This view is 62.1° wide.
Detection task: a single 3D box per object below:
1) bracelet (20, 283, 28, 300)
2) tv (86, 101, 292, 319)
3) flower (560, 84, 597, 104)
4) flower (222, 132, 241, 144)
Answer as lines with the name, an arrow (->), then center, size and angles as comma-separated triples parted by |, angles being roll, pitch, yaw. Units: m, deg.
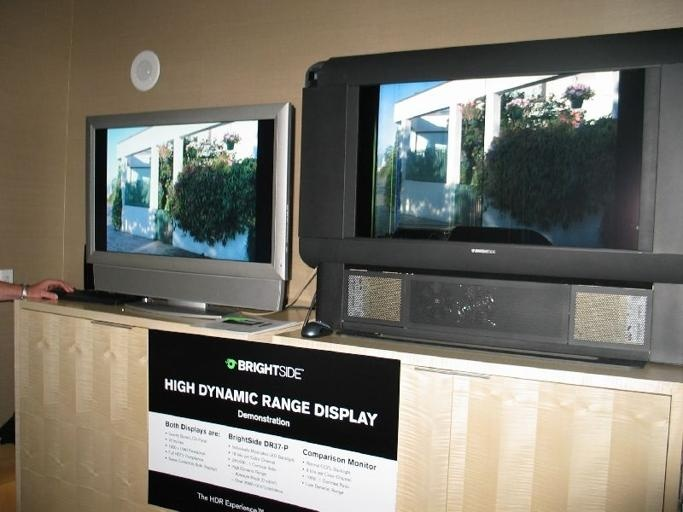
bracelet -> -1.509, 0.178, 2.704 | 0.020, 0.056, 0.047 | 6, 6, 4
tv -> -0.664, -0.193, 2.556 | 0.948, 0.727, 0.105 | 4, 2, 22
flower -> 0.815, -0.544, 1.939 | 0.072, 0.058, 0.073 | 0, 10, 5
flower -> -0.478, -0.510, 2.472 | 0.054, 0.026, 0.052 | 2, 6, 7
